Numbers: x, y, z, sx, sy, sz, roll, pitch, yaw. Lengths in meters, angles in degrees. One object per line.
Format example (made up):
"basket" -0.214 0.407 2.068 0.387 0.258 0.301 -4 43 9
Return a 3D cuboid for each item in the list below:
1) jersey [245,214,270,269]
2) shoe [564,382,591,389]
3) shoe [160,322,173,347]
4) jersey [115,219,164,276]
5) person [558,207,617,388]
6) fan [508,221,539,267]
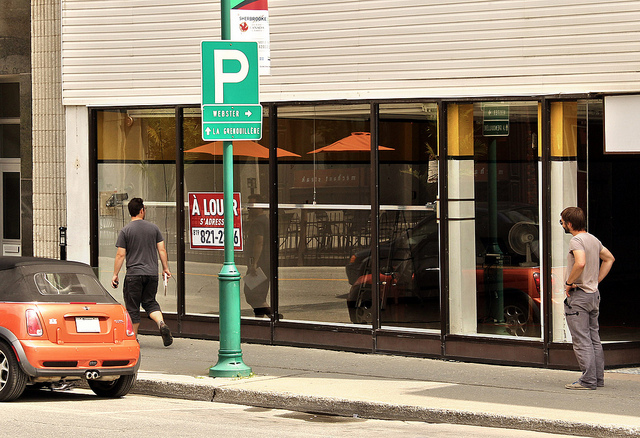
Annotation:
"jersey" -1.128 0.394 17.979 0.508 0.961 0.147 5 11 24
"shoe" 3.722 2.424 14.663 0.272 0.101 0.110 3 -5 3
"shoe" -2.594 1.949 17.007 0.164 0.416 0.184 -16 27 -12
"jersey" -3.103 0.495 17.365 0.991 1.136 0.463 -1 5 -6
"person" 3.937 1.153 15.076 0.788 2.673 1.360 3 11 15
"fan" 3.378 0.387 16.440 0.570 0.840 0.368 -6 8 0
